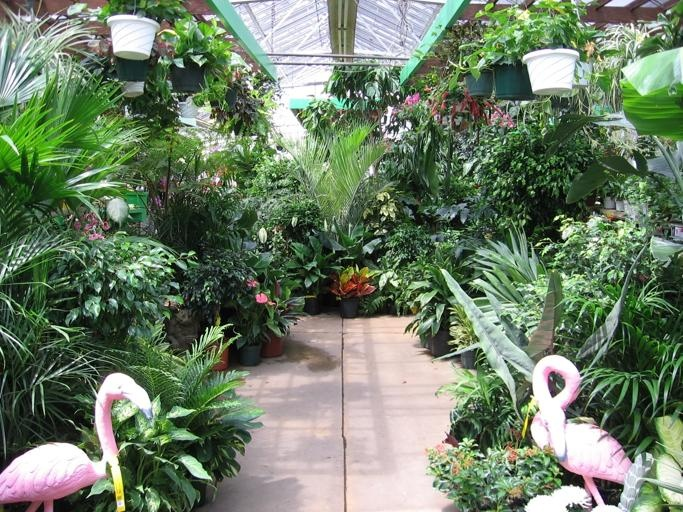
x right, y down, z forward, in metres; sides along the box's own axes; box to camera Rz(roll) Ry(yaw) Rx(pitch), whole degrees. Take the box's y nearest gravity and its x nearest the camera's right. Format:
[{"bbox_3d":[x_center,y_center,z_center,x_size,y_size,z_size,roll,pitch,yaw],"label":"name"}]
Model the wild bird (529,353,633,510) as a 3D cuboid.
[{"bbox_3d":[1.125,0.836,2.432,0.460,0.678,0.380,6,13,31],"label":"wild bird"}]
